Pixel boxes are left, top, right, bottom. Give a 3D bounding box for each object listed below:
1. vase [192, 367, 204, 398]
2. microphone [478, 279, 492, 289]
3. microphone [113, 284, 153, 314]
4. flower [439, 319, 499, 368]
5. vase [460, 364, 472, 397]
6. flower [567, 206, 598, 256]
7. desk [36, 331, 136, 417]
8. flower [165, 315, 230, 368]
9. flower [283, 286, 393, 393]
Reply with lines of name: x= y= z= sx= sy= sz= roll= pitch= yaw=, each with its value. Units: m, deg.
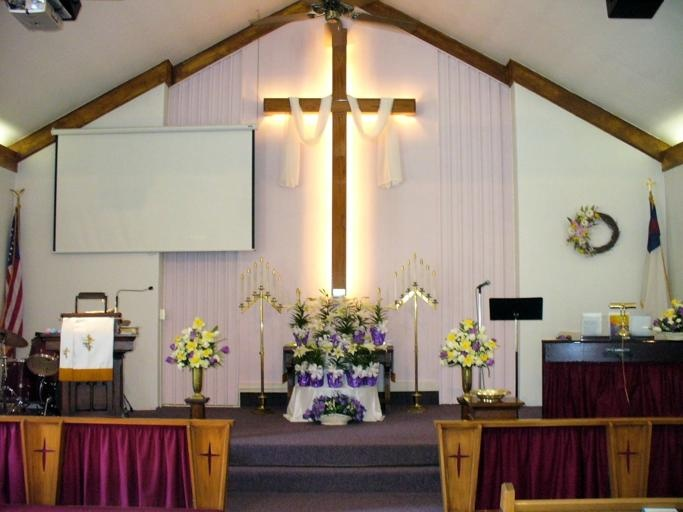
vase: x=-1.595 y=1.406 z=8.783 sx=0.095 sy=0.324 sz=0.217 roll=0 pitch=-8 yaw=-2
microphone: x=1.889 y=0.363 z=10.421 sx=0.073 sy=0.083 sz=0.233 roll=31 pitch=-37 yaw=-30
microphone: x=-2.945 y=0.580 z=11.226 sx=0.545 sy=0.354 sz=0.132 roll=0 pitch=-8 yaw=-5
flower: x=1.391 y=0.950 z=8.448 sx=0.507 sy=0.660 sz=0.523 roll=-1 pitch=-2 yaw=28
vase: x=1.336 y=1.316 z=8.395 sx=0.096 sy=0.278 sz=0.297 roll=-2 pitch=-9 yaw=13
flower: x=3.371 y=-0.377 z=10.996 sx=0.462 sy=0.681 sz=0.210 roll=-4 pitch=-9 yaw=23
desk: x=-3.010 y=1.365 z=9.553 sx=1.006 sy=1.099 sz=1.013 roll=1 pitch=8 yaw=-18
flower: x=-1.785 y=1.072 z=9.832 sx=0.637 sy=0.920 sz=0.733 roll=0 pitch=-4 yaw=17
flower: x=-0.017 y=1.026 z=10.721 sx=1.564 sy=1.997 sz=1.124 roll=1 pitch=-9 yaw=-8
